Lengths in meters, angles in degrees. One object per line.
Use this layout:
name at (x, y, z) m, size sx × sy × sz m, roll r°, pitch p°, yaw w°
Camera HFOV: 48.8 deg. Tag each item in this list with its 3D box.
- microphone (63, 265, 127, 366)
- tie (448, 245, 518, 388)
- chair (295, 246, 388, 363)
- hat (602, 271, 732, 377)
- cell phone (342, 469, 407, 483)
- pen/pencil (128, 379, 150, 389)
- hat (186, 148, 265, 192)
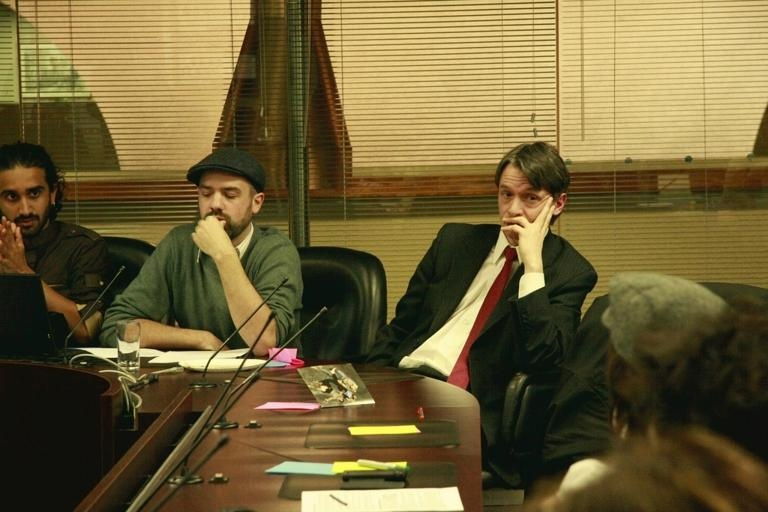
microphone at (-1.403, 0.297, 4.128) m, size 0.129 × 0.455 × 0.038 m, roll 29°, pitch -15°, yaw -6°
tie at (0.556, 0.229, 4.154) m, size 0.150 × 0.127 × 1.224 m, roll 26°, pitch 47°, yaw -2°
chair at (-0.066, 0.241, 4.411) m, size 0.474 × 0.590 × 0.537 m, roll -1°, pitch -3°, yaw 9°
hat at (0.754, 0.165, 2.300) m, size 0.289 × 0.209 × 0.208 m, roll 12°, pitch 21°, yaw 9°
cell phone at (-0.026, 0.728, 2.813) m, size 0.215 × 0.030 × 0.035 m, roll 1°, pitch 7°, yaw -2°
pen/pencil at (-0.957, 0.507, 3.341) m, size 0.012 × 0.017 × 0.077 m, roll -23°, pitch -13°, yaw 32°
hat at (-0.762, -0.428, 4.234) m, size 0.233 × 0.135 × 0.307 m, roll 1°, pitch -19°, yaw 31°
